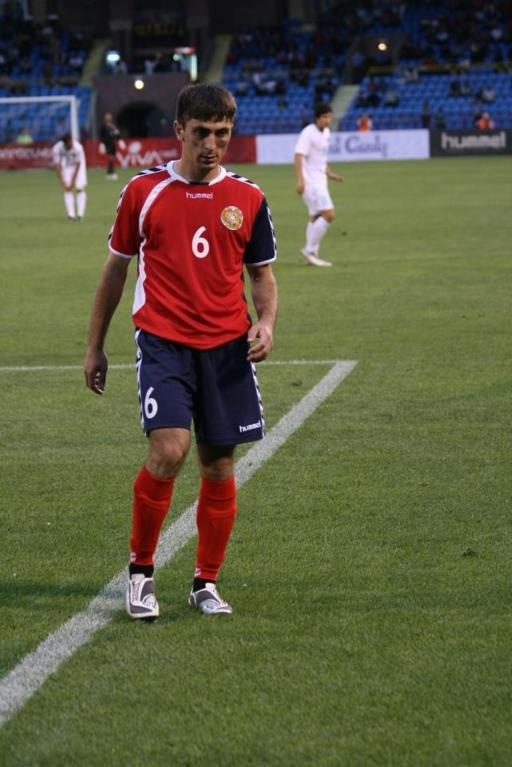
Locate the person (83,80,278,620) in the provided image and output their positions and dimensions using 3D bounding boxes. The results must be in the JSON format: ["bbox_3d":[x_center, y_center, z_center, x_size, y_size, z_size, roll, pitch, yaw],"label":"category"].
[{"bbox_3d":[-0.197,-0.087,3.176,0.564,1.455,0.400,-3,11,-9],"label":"person"}]

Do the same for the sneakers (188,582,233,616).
[{"bbox_3d":[-0.130,0.613,3.205,0.057,0.064,0.145,5,-4,-40],"label":"sneakers"}]

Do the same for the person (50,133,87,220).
[{"bbox_3d":[-2.805,-3.129,17.104,0.443,1.289,1.166,-3,11,-10],"label":"person"}]
